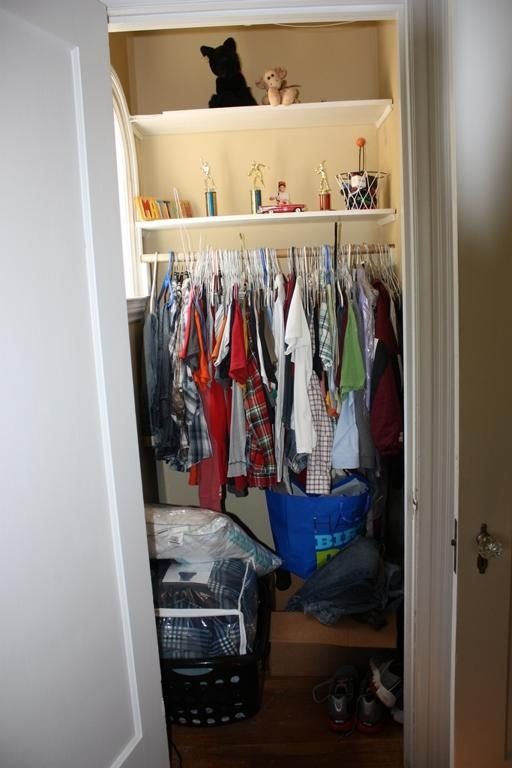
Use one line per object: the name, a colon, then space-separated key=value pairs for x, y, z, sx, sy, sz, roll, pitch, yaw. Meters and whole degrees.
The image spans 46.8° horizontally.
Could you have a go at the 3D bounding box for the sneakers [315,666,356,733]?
sneakers: x=0.281 y=1.080 z=2.031 sx=0.077 sy=0.089 sz=0.209 roll=-5 pitch=9 yaw=6

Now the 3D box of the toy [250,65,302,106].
toy: x=0.079 y=-1.160 z=2.333 sx=0.157 sy=0.152 sz=0.153 roll=-3 pitch=13 yaw=3

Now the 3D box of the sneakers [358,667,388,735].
sneakers: x=0.392 y=1.066 z=1.992 sx=0.063 sy=0.087 sz=0.191 roll=-4 pitch=21 yaw=6

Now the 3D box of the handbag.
handbag: x=0.254 y=0.548 z=2.542 sx=0.406 sy=0.481 sz=0.366 roll=-3 pitch=6 yaw=2

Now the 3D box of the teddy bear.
teddy bear: x=-0.110 y=-1.223 z=2.345 sx=0.206 sy=0.274 sz=0.148 roll=-3 pitch=12 yaw=6

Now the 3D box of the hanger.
hanger: x=0.048 y=-0.439 z=2.422 sx=1.026 sy=0.262 sz=0.484 roll=-5 pitch=13 yaw=-1
